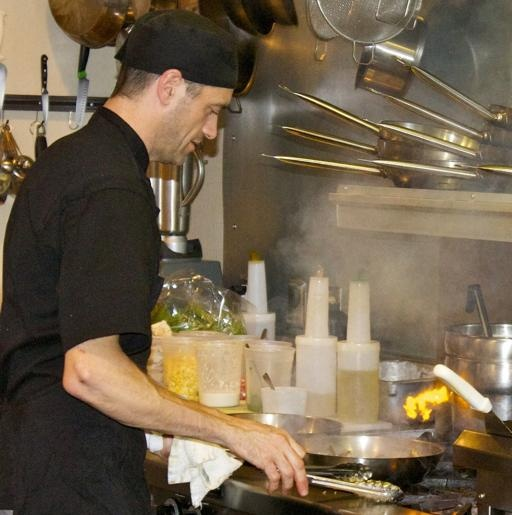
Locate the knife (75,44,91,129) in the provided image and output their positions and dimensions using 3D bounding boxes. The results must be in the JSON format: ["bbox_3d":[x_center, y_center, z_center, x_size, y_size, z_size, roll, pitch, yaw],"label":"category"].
[{"bbox_3d":[-0.672,-0.650,2.287,0.062,0.414,0.039,4,14,0],"label":"knife"}]

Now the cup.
[{"bbox_3d":[-0.082,0.276,1.544,0.322,0.121,0.209,4,1,12],"label":"cup"}]

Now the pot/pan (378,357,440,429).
[{"bbox_3d":[0.359,0.341,1.477,0.136,0.078,0.129,-1,5,-18],"label":"pot/pan"}]

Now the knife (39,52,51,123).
[{"bbox_3d":[-0.812,-0.619,2.264,0.051,0.317,0.016,-2,-2,-2],"label":"knife"}]

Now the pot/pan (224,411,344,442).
[{"bbox_3d":[0.056,0.334,1.155,0.157,0.032,0.160,1,-3,27],"label":"pot/pan"}]

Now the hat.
[{"bbox_3d":[-0.133,-0.378,1.078,0.219,0.119,0.207,3,20,-25],"label":"hat"}]
